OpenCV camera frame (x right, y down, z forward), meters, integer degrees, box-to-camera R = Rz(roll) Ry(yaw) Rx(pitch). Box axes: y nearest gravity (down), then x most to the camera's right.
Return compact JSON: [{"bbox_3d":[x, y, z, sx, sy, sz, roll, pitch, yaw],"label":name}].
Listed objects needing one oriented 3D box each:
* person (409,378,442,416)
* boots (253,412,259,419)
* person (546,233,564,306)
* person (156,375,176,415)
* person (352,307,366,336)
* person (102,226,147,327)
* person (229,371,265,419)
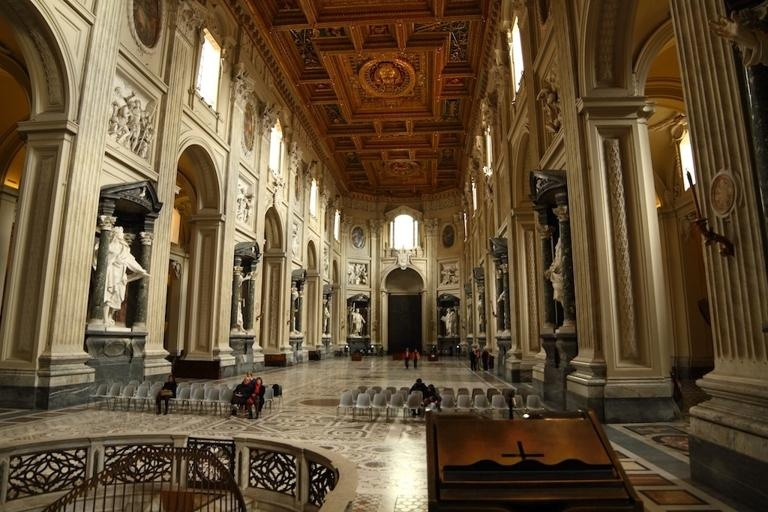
[{"bbox_3d":[1.039,3.309,12.002,0.831,1.121,0.977,2,-29,5],"label":"person"},{"bbox_3d":[-2.889,3.608,11.456,0.074,0.106,0.318,-7,-8,-13],"label":"boots"},{"bbox_3d":[4.242,0.339,12.580,0.381,1.667,1.491,-4,-12,16],"label":"person"},{"bbox_3d":[-5.134,3.255,11.960,0.420,0.835,1.109,4,-13,-21],"label":"person"},{"bbox_3d":[-1.835,4.801,36.889,0.588,1.962,1.271,-6,-13,22],"label":"person"},{"bbox_3d":[-6.936,0.553,13.406,0.545,2.615,1.174,-2,-12,5],"label":"person"},{"bbox_3d":[-3.137,3.228,11.771,0.897,0.941,0.660,-9,-14,34],"label":"person"}]
